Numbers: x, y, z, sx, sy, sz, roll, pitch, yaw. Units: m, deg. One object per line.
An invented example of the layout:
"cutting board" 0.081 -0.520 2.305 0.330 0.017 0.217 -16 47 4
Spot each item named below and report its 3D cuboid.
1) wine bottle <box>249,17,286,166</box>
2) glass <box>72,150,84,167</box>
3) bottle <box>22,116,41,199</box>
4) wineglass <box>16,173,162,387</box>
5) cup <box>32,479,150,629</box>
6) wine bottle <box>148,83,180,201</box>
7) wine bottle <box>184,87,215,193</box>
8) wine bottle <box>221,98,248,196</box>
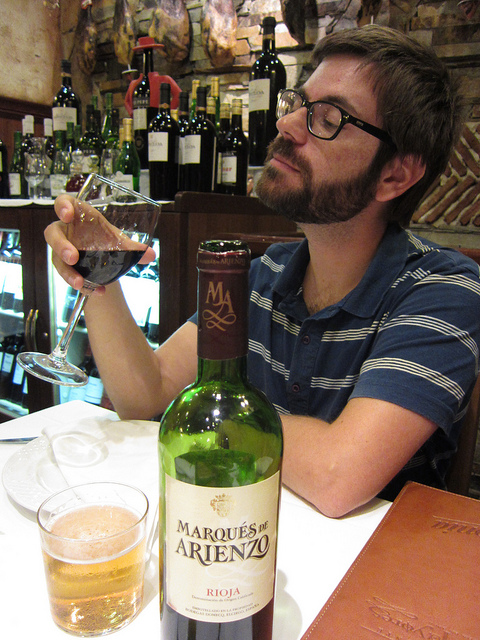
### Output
"wine bottle" 0.098 -0.841 1.956 0.113 0.471 0.119 1 21 0
"glass" -0.702 -0.701 2.313 0.040 0.060 0.090 -3 22 -14
"bottle" -0.984 -0.777 2.514 0.091 0.396 0.102 -28 59 -37
"wineglass" -0.301 -0.067 0.989 0.327 0.394 0.127 12 22 23
"cup" -0.126 0.228 0.507 0.085 0.083 0.102 -8 2 -16
"wine bottle" -0.281 -0.653 1.970 0.116 0.405 0.171 0 21 -7
"wine bottle" -0.150 -0.672 1.999 0.111 0.365 0.195 1 21 -5
"wine bottle" -0.011 -0.681 2.119 0.108 0.360 0.177 14 23 28
